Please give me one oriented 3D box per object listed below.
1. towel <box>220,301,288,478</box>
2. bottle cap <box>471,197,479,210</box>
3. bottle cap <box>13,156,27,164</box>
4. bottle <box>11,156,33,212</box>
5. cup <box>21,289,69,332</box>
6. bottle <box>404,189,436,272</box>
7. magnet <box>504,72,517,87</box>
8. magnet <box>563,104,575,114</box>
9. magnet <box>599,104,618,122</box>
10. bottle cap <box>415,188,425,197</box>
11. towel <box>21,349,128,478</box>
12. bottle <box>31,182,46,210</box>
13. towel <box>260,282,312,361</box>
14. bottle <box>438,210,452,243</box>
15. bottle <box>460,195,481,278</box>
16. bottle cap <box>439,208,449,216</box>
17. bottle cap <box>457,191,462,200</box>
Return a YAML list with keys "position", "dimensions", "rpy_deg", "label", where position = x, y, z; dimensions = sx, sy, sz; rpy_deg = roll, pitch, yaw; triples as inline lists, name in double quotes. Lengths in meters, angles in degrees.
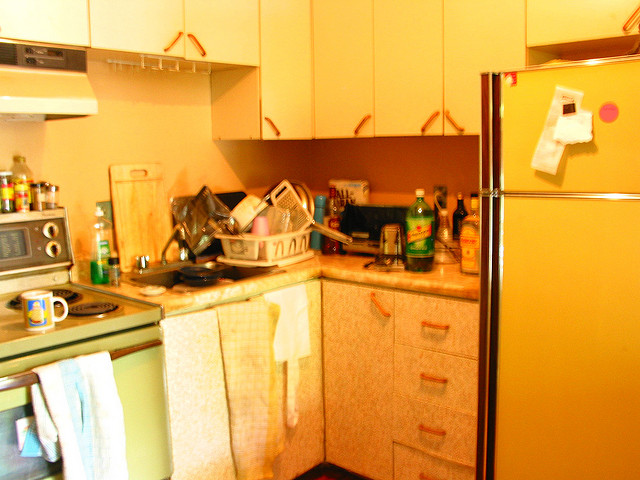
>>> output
- position: [-0.288, 0.638, 2.217]
  dimensions: [0.330, 1.005, 0.156]
  rpy_deg: [-7, 9, -36]
  label: "towel"
- position: [0.693, -0.165, 2.296]
  dimensions: [0.043, 0.069, 0.044]
  rpy_deg: [1, 3, 27]
  label: "bottle cap"
- position: [-1.283, -0.342, 2.193]
  dimensions: [0.034, 0.036, 0.033]
  rpy_deg: [1, 0, 7]
  label: "bottle cap"
- position: [-1.274, -0.244, 2.187]
  dimensions: [0.085, 0.224, 0.087]
  rpy_deg: [3, 15, -1]
  label: "bottle"
- position: [-0.943, 0.251, 1.828]
  dimensions: [0.183, 0.154, 0.114]
  rpy_deg: [2, 1, 0]
  label: "cup"
- position: [0.458, -0.046, 2.406]
  dimensions: [0.151, 0.372, 0.132]
  rpy_deg: [3, 11, 21]
  label: "bottle"
- position: [0.708, -0.592, 1.902]
  dimensions: [0.048, 0.046, 0.013]
  rpy_deg: [7, 7, 32]
  label: "magnet"
- position: [0.883, -0.454, 1.817]
  dimensions: [0.046, 0.034, 0.026]
  rpy_deg: [0, 2, 41]
  label: "magnet"
- position: [0.981, -0.434, 1.747]
  dimensions: [0.053, 0.053, 0.013]
  rpy_deg: [7, 13, 33]
  label: "magnet"
- position: [0.467, -0.219, 2.421]
  dimensions: [0.053, 0.046, 0.054]
  rpy_deg: [0, 2, 24]
  label: "bottle cap"
- position: [-0.826, 0.550, 1.785]
  dimensions: [0.256, 0.408, 0.285]
  rpy_deg: [-10, 19, -44]
  label: "towel"
- position: [-1.213, -0.189, 2.212]
  dimensions: [0.049, 0.111, 0.046]
  rpy_deg: [-1, 10, 0]
  label: "bottle"
- position: [-0.167, 0.368, 2.336]
  dimensions: [0.042, 0.406, 0.353]
  rpy_deg: [-3, 2, 38]
  label: "towel"
- position: [0.633, -0.078, 2.585]
  dimensions: [0.067, 0.160, 0.131]
  rpy_deg: [2, 11, 15]
  label: "bottle"
- position: [0.674, -0.027, 2.307]
  dimensions: [0.076, 0.358, 0.128]
  rpy_deg: [1, 11, 13]
  label: "bottle"
- position: [0.615, -0.137, 2.552]
  dimensions: [0.040, 0.035, 0.040]
  rpy_deg: [0, 0, 6]
  label: "bottle cap"
- position: [0.719, -0.231, 2.640]
  dimensions: [0.034, 0.042, 0.043]
  rpy_deg: [-1, -3, 25]
  label: "bottle cap"
